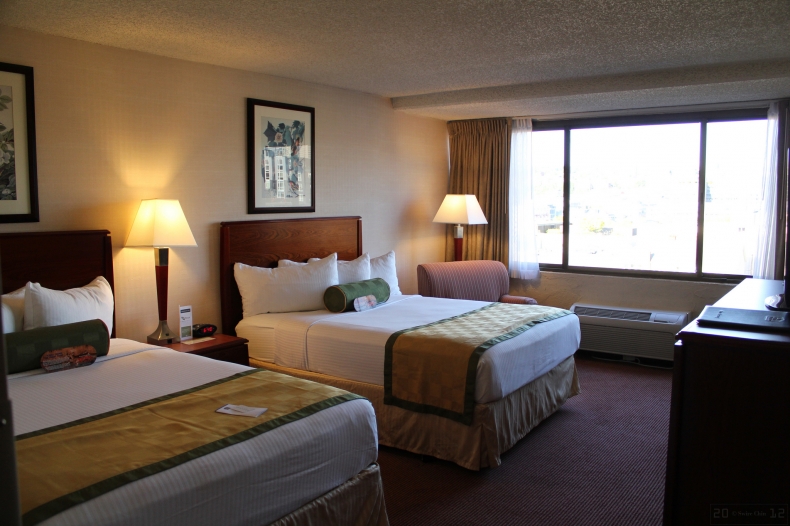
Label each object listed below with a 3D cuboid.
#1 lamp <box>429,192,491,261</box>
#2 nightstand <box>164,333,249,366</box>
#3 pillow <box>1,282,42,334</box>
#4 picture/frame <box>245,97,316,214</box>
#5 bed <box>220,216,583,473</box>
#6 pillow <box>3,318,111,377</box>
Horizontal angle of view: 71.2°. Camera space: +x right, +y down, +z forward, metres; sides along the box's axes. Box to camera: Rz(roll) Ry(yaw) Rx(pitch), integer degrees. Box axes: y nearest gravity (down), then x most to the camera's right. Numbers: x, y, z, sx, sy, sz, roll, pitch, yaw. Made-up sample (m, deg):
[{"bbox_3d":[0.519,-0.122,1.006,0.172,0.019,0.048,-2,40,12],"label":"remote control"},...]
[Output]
[{"bbox_3d":[0.835,-0.316,7.332,0.601,1.078,0.617,-2,3,-30],"label":"lamp"},{"bbox_3d":[-1.561,0.663,4.719,0.305,0.282,0.439,1,3,31],"label":"nightstand"},{"bbox_3d":[-2.497,0.315,3.703,0.167,0.345,0.352,-4,-6,16],"label":"pillow"},{"bbox_3d":[-1.178,-1.091,5.711,0.892,1.147,0.138,-12,17,-43],"label":"picture/frame"},{"bbox_3d":[0.073,0.588,5.230,2.813,1.758,2.168,2,6,34],"label":"bed"},{"bbox_3d":[-2.278,0.553,3.695,0.217,0.216,0.743,-5,-2,39],"label":"pillow"}]
